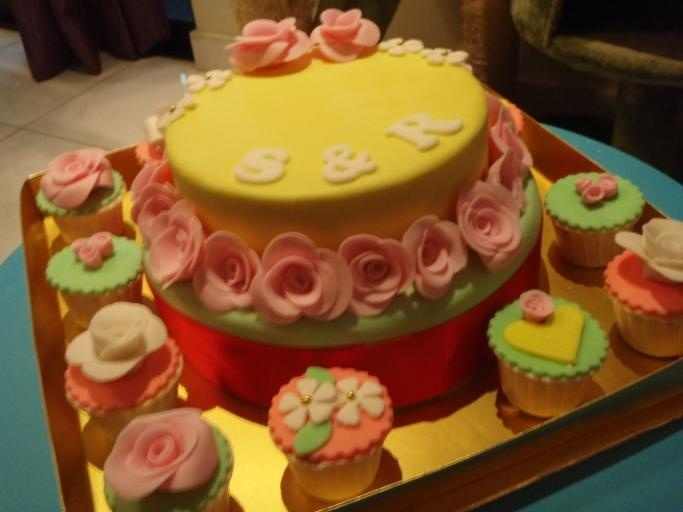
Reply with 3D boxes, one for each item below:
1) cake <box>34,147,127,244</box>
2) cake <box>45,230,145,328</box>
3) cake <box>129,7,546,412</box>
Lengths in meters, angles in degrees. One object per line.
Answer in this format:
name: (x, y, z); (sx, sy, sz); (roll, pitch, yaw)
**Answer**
cake: (-0.962, -0.211, 2.450); (0.205, 0.223, 0.214); (31, 59, 29)
cake: (-0.809, 0.062, 2.274); (0.278, 0.264, 0.314); (-11, 46, -9)
cake: (0.000, -0.142, 2.093); (1.251, 0.647, 0.990); (-2, 48, 5)
